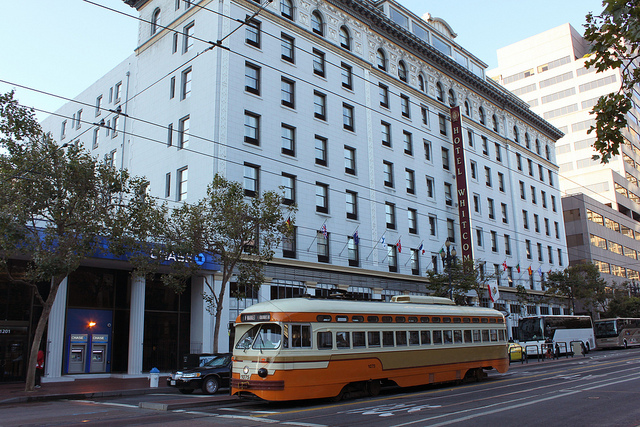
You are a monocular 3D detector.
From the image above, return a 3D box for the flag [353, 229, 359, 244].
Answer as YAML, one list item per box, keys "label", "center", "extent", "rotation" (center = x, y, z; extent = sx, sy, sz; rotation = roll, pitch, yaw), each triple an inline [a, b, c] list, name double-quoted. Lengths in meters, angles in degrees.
- label: "flag"
  center: [2.986, 2.042, 46.874]
  extent: [0.384, 0.909, 0.907]
  rotation: [-4, -18, 12]

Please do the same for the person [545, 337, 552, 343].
- label: "person"
  center: [21.218, 11.770, 51.789]
  extent: [0.753, 0.409, 0.144]
  rotation: [10, -20, -30]

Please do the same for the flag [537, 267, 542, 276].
- label: "flag"
  center: [27.001, 7.111, 68.270]
  extent: [0.417, 1.041, 2.553]
  rotation: [-7, -19, 21]

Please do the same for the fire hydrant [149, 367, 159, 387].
- label: "fire hydrant"
  center: [-9.718, 9.601, 32.575]
  extent: [0.447, 1.081, 1.119]
  rotation: [6, -19, -19]

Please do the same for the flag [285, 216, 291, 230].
- label: "flag"
  center: [-2.150, 0.662, 37.045]
  extent: [0.360, 0.160, 1.423]
  rotation: [33, 12, -18]

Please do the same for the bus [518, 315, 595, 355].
- label: "bus"
  center: [23.651, 12.006, 55.339]
  extent: [9.846, 3.705, 3.060]
  rotation: [9, -16, -37]

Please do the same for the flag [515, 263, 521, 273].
- label: "flag"
  center: [23.472, 6.536, 65.896]
  extent: [0.530, 0.944, 0.192]
  rotation: [11, -21, -32]

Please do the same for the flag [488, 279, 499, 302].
- label: "flag"
  center: [14.204, 6.402, 45.432]
  extent: [0.631, 1.864, 1.788]
  rotation: [-4, -18, 12]

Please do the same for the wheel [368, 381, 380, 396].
- label: "wheel"
  center: [2.684, 8.786, 27.938]
  extent: [0.265, 0.819, 0.838]
  rotation: [-1, -4, 45]

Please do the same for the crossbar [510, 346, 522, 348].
- label: "crossbar"
  center: [17.006, 11.494, 47.904]
  extent: [0.858, 0.111, 0.367]
  rotation: [1, -18, -5]

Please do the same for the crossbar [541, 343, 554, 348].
- label: "crossbar"
  center: [21.107, 12.240, 51.586]
  extent: [1.353, 0.400, 0.437]
  rotation: [7, -19, -22]
